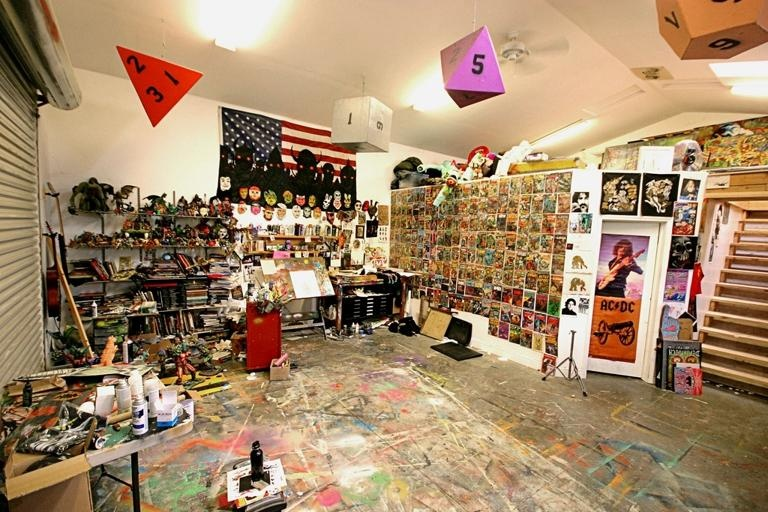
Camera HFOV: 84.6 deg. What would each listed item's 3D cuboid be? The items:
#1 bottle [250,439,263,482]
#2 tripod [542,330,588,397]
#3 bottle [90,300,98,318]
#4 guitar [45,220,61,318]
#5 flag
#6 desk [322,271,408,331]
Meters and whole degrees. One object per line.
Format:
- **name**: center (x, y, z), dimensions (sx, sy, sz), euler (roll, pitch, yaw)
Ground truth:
- **bottle**: center (-1.425, 2.288, 4.800), dimensions (0.174, 0.425, 0.179), euler (1, 3, 0)
- **tripod**: center (2.918, 1.663, 6.812), dimensions (0.676, 0.902, 0.561), euler (1, 5, 23)
- **bottle**: center (-4.393, 0.800, 6.412), dimensions (0.080, 0.233, 0.231), euler (-4, 5, -33)
- **guitar**: center (-4.799, 0.193, 6.101), dimensions (0.150, 1.384, 0.551), euler (-4, 5, -37)
- **flag**: center (-1.768, -1.615, 8.524), dimensions (0.028, 1.907, 3.594), euler (8, 7, 38)
- **desk**: center (-0.449, 0.850, 8.980), dimensions (1.663, 1.019, 0.827), euler (-4, 18, -33)
